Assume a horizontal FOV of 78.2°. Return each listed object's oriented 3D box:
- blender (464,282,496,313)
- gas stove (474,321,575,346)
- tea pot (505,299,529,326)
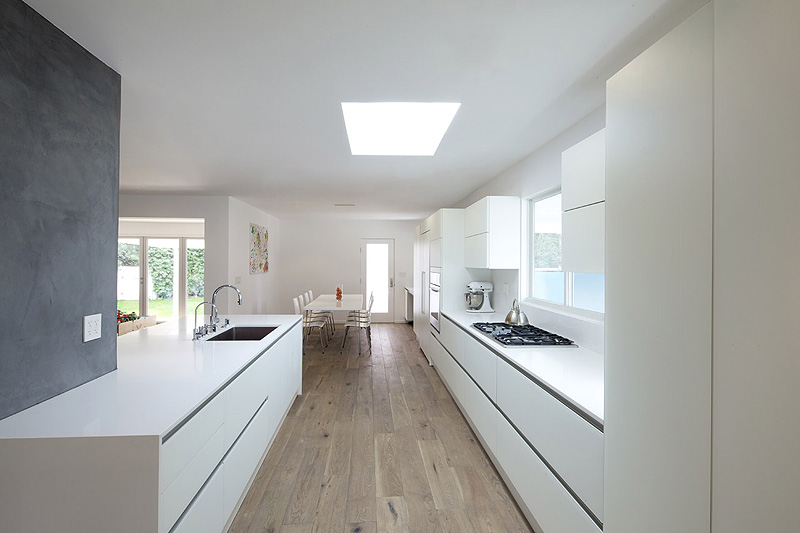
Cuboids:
[{"bbox_3d":[0.844,0.328,5.276,0.311,0.338,0.238,2,0,0],"label":"blender"},{"bbox_3d":[0.936,0.522,3.882,0.572,0.076,0.860,-1,8,-8],"label":"gas stove"},{"bbox_3d":[1.015,0.406,4.352,0.199,0.224,0.205,-2,-1,0],"label":"tea pot"}]
